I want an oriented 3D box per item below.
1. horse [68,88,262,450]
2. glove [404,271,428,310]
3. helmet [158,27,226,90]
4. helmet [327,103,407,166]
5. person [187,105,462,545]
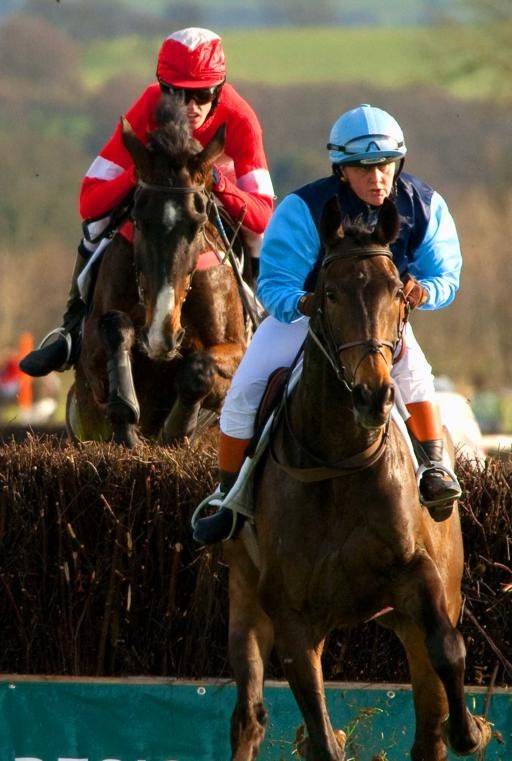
[{"bbox_3d":[-0.499,-0.382,5.344,0.703,2.127,1.000,6,57,4],"label":"horse"},{"bbox_3d":[0.445,-0.247,2.913,0.040,0.085,0.113,-42,15,1],"label":"glove"},{"bbox_3d":[-0.360,-1.751,5.619,0.371,0.340,0.403,-1,15,-6],"label":"helmet"},{"bbox_3d":[0.342,-0.766,3.261,0.201,0.133,0.245,0,0,-4],"label":"helmet"},{"bbox_3d":[0.301,-0.187,3.416,0.948,1.351,0.855,4,6,16],"label":"person"}]
